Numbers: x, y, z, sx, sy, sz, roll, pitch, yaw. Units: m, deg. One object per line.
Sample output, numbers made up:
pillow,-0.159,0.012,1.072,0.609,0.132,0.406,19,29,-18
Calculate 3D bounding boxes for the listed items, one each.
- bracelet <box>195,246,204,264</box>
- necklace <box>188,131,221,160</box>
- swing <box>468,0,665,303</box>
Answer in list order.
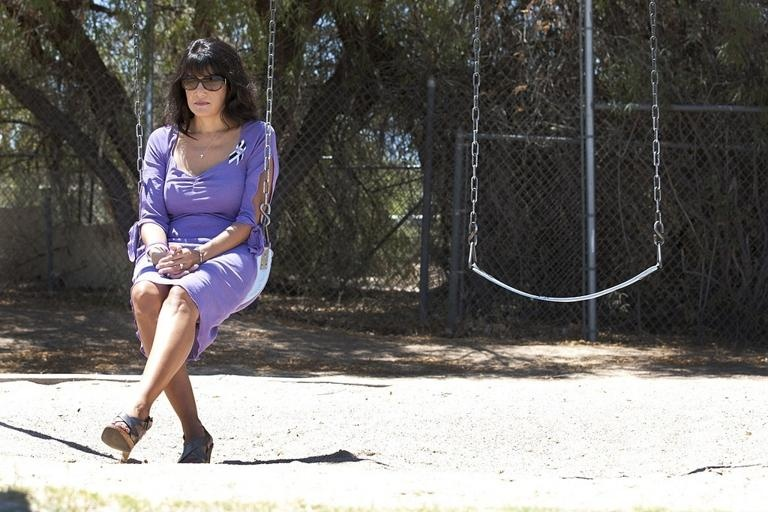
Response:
bracelet,-1.375,-0.013,7.833,0.077,0.101,0.073,-22,5,-13
necklace,-1.384,-0.862,8.063,0.215,0.244,0.063,-2,-17,4
swing,1.858,-1.095,10.798,2.194,3.567,3.560,3,5,13
